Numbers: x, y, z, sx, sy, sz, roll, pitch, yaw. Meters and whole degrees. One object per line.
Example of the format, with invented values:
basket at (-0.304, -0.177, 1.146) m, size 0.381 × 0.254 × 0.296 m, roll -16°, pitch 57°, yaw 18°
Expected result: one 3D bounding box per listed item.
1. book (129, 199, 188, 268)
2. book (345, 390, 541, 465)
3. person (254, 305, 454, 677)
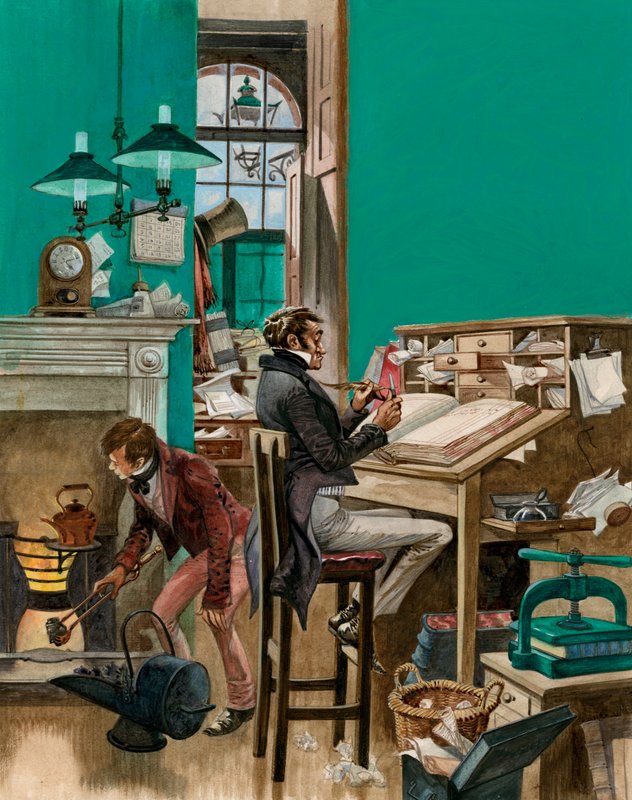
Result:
book at (-0.647, -0.683, 5.521) m, size 0.240 × 0.247 × 0.074 m, roll 0°, pitch -1°, yaw -16°
book at (0.514, 0.114, 5.100) m, size 0.316 × 0.090 × 0.437 m, roll -29°, pitch 11°, yaw -21°
person at (0.137, 0.326, 4.951) m, size 0.727 × 1.313 × 0.502 m, roll -2°, pitch 0°, yaw -13°
